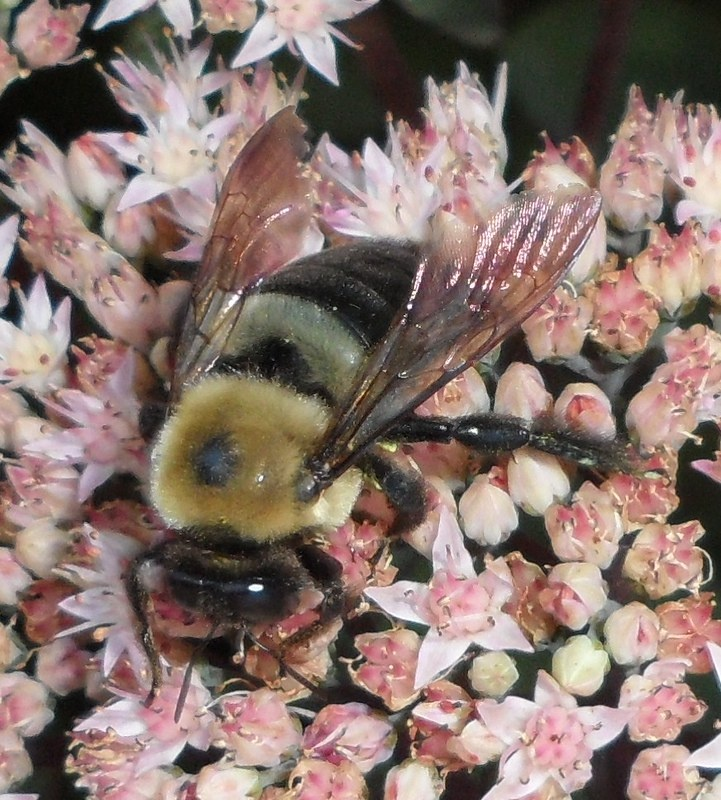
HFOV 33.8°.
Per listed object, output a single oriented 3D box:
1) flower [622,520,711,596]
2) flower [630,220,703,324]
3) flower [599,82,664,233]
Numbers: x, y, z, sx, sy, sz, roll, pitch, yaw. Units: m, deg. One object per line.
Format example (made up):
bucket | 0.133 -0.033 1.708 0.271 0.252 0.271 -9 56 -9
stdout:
flower | 0.317 0.169 1.245 0.075 0.048 0.075 2 69 -6
flower | 0.350 -0.144 1.321 0.095 0.043 0.102 1 91 9
flower | 0.316 -0.291 1.398 0.049 0.121 0.134 8 81 -46
